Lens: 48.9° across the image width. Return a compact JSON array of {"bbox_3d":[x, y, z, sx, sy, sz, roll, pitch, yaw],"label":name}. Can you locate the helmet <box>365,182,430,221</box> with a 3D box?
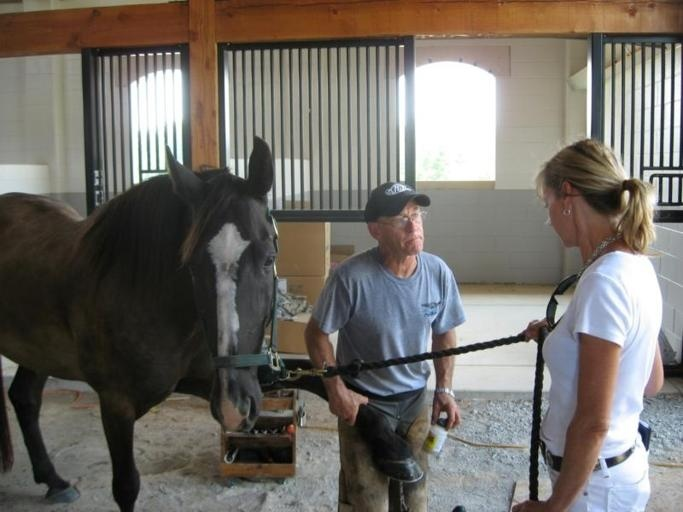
[{"bbox_3d":[0.277,-0.296,3.819,0.223,0.165,0.305,-18,-8,-33],"label":"helmet"}]

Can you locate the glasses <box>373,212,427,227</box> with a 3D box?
[{"bbox_3d":[0.332,-0.189,3.755,0.267,0.069,0.117,-7,10,-26],"label":"glasses"}]

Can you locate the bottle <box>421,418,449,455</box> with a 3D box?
[{"bbox_3d":[0.470,0.901,3.734,0.115,0.179,0.085,-1,8,5],"label":"bottle"}]

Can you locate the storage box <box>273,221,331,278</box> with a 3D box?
[{"bbox_3d":[-0.383,-0.068,7.017,0.447,0.507,0.476,0,0,0],"label":"storage box"}]
